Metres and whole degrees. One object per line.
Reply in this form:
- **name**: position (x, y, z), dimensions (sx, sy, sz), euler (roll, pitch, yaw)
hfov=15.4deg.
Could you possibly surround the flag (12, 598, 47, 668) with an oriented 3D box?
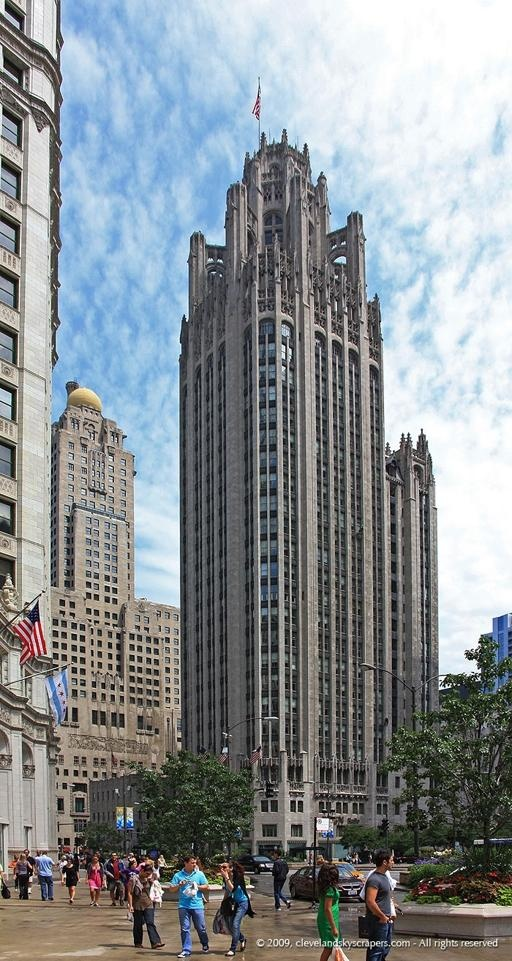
- **flag**: position (-9.755, 6.515, 82.661), dimensions (1.388, 0.505, 4.266), euler (-7, -45, -18)
